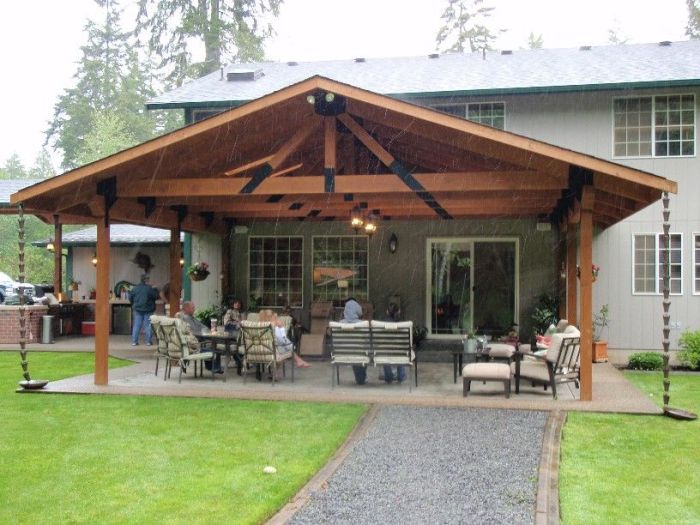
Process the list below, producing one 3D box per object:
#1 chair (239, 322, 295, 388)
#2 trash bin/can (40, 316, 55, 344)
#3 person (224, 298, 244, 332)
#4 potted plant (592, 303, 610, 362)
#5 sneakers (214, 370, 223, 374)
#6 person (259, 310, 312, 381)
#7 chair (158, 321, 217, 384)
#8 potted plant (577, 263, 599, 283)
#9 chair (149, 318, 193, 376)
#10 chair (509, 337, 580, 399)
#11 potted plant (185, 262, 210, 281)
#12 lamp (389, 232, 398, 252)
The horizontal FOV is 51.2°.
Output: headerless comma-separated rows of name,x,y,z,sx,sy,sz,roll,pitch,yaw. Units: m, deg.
chair,-1.535,1.634,13.389,0.799,1.211,0.926,0,2,27
trash bin/can,-7.917,1.765,18.964,0.320,0.703,0.813,-4,11,-25
person,-2.543,1.154,15.785,0.371,0.773,0.373,7,-12,-37
potted plant,5.478,1.539,16.033,0.413,1.344,0.427,-1,7,-10
sneakers,-2.597,2.174,14.399,0.152,0.077,0.067,0,-3,2
person,-1.320,1.600,13.998,0.659,0.957,1.370,-6,-4,33
chair,-3.118,1.618,13.780,0.789,1.224,1.021,4,0,40
potted plant,4.374,0.198,13.401,0.311,0.377,0.322,-10,4,-43
chair,-3.268,1.587,13.710,0.645,1.234,0.835,8,8,25
chair,3.494,1.763,12.867,0.982,1.112,1.100,0,0,40
potted plant,-3.544,0.233,17.095,0.385,0.324,0.428,0,1,-3
lamp,1.079,-0.460,17.829,0.233,0.482,0.096,-1,9,-8
